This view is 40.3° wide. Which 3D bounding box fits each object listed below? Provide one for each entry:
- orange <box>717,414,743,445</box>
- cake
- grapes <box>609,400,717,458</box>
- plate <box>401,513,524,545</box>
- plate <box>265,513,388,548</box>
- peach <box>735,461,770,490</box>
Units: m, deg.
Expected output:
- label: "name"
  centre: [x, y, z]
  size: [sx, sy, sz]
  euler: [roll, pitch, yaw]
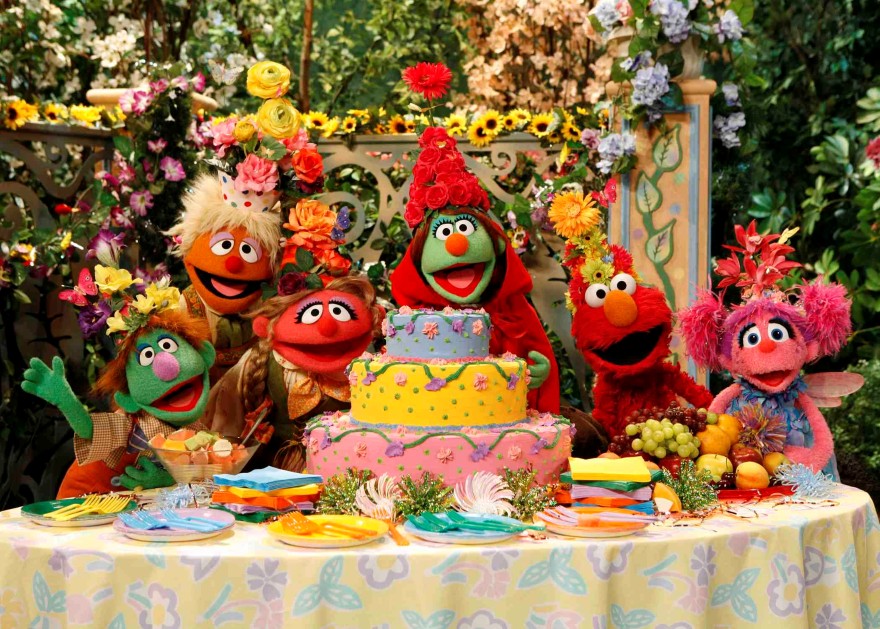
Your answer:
- label: "orange"
  centre: [1.556, 0.624, 6.591]
  size: [0.129, 0.169, 0.130]
  euler: [4, -32, -18]
- label: "cake"
  centre: [0.066, 0.454, 6.666]
  size: [1.147, 0.989, 1.264]
  euler: [1, 5, 19]
- label: "grapes"
  centre: [1.205, 0.642, 6.515]
  size: [0.572, 0.272, 0.240]
  euler: [0, 4, 13]
- label: "plate"
  centre: [0.126, 1.023, 5.797]
  size: [0.605, 0.117, 0.244]
  euler: [-1, 4, 2]
- label: "plate"
  centre: [-0.537, 1.029, 5.777]
  size: [0.580, 0.130, 0.285]
  euler: [-2, 4, -5]
- label: "peach"
  centre: [1.638, 0.851, 6.362]
  size: [0.149, 0.131, 0.120]
  euler: [17, 8, -7]
